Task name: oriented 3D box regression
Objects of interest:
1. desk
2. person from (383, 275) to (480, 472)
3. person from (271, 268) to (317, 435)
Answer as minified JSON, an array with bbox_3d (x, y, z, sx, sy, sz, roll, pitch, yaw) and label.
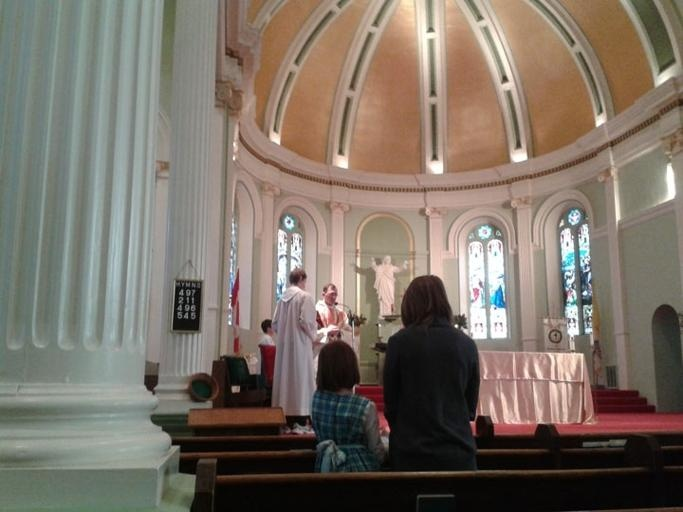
[{"bbox_3d":[2.787,1.916,8.108,1.496,0.855,1.626,0,-15,2],"label":"desk"},{"bbox_3d":[0.412,0.538,2.628,0.453,0.915,0.317,-3,-10,14],"label":"person"},{"bbox_3d":[-0.505,0.944,5.905,0.452,1.605,0.425,1,-9,-8],"label":"person"}]
